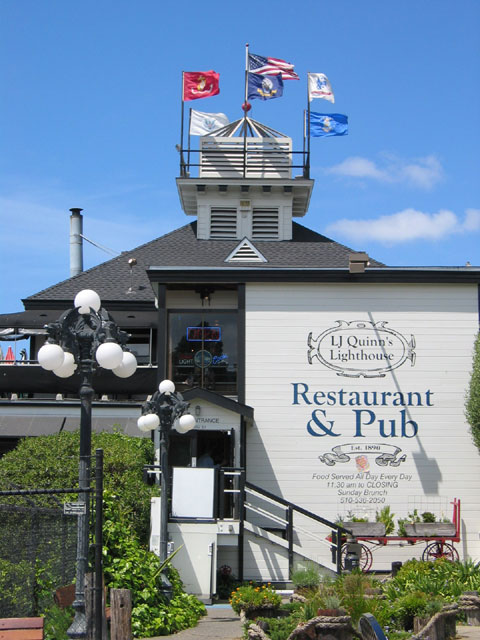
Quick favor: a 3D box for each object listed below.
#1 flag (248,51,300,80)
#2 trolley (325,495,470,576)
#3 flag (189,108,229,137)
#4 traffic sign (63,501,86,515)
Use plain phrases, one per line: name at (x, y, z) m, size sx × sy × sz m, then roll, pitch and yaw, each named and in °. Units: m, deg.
flag at (0.861, -6.750, 45.568) m, size 1.347 × 0.831 × 0.383 m, roll -4°, pitch -8°, yaw 36°
trolley at (3.160, 4.491, 37.502) m, size 2.565 × 1.725 × 2.139 m, roll 2°, pitch -12°, yaw -5°
flag at (-0.791, -5.350, 46.531) m, size 1.008 × 0.917 × 1.088 m, roll 2°, pitch -7°, yaw -10°
traffic sign at (-2.519, 2.889, 27.032) m, size 0.343 × 0.195 × 0.234 m, roll 0°, pitch -3°, yaw 2°
